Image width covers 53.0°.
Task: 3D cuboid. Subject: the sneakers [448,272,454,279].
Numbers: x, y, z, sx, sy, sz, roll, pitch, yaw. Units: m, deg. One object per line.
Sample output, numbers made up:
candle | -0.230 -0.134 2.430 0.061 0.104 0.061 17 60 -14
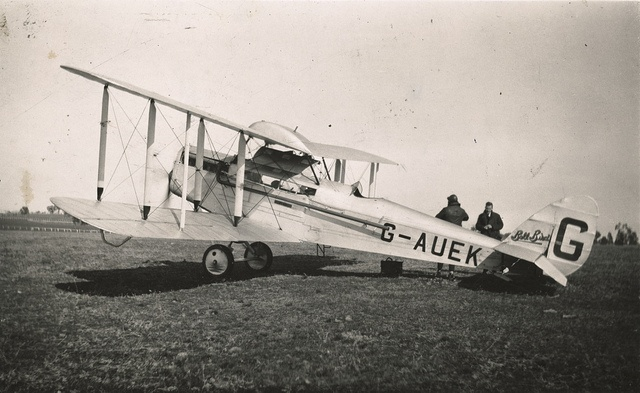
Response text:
sneakers | 3.255 1.945 15.792 0.142 0.072 0.188 16 4 4
